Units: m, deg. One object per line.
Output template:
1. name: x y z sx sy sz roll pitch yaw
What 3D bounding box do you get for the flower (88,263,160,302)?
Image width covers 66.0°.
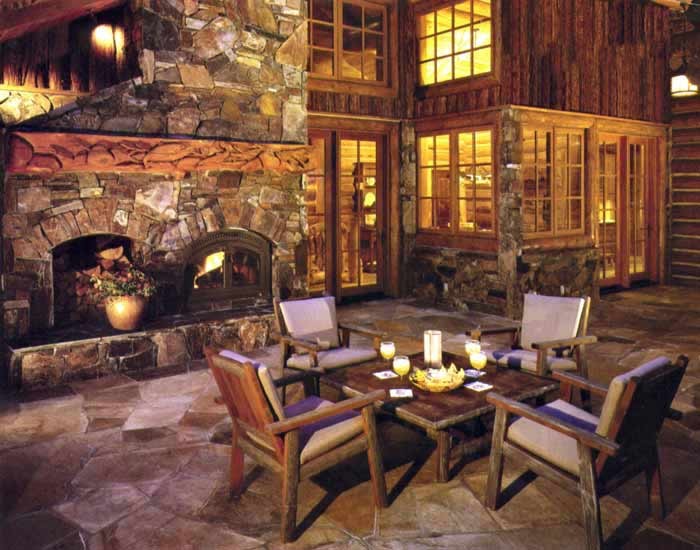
1. flower: -2.590 0.100 6.063 0.772 0.389 0.510 3 11 17

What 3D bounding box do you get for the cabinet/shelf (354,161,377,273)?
1. cabinet/shelf: 0.282 -1.134 9.134 0.358 1.630 0.117 4 -6 -40

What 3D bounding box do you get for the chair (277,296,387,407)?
1. chair: -0.178 0.736 4.941 0.781 1.082 0.788 -6 6 -38

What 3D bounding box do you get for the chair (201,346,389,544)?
1. chair: -0.331 0.909 3.666 1.106 1.292 0.936 -6 7 -39

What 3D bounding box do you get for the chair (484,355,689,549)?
1. chair: 1.404 0.978 3.423 0.947 1.384 1.120 -2 3 -30

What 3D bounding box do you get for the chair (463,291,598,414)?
1. chair: 1.618 0.721 4.788 0.869 1.052 0.929 -5 6 -19
